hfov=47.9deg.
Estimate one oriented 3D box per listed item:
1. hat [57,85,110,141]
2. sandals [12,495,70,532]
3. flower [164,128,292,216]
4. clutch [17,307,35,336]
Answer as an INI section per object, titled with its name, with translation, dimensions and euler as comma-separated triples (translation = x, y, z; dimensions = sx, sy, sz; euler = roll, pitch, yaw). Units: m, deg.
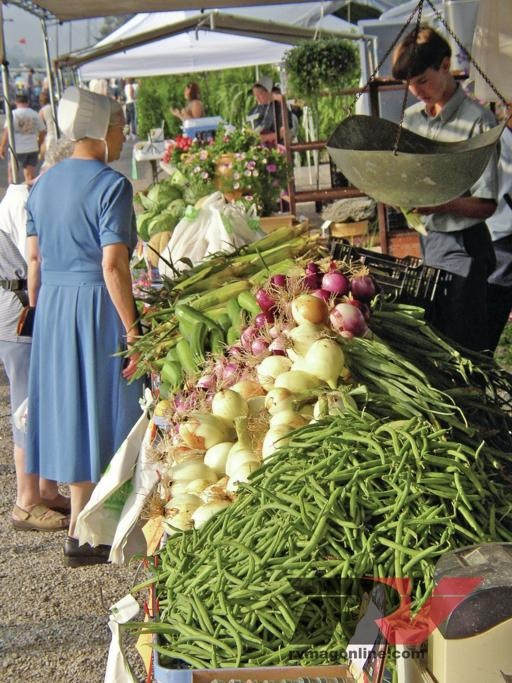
[hat]
translation = -0.734, -0.975, 2.475
dimensions = 0.241, 0.218, 0.189
euler = -7, 22, -13
[sandals]
translation = -1.177, 0.957, 3.214
dimensions = 0.332, 0.124, 0.158
euler = -2, 10, 1
[flower]
translation = -0.198, -1.170, 4.113
dimensions = 0.965, 0.642, 0.769
euler = -2, 13, 0
[clutch]
translation = -1.162, -0.103, 2.927
dimensions = 0.047, 0.132, 0.110
euler = 8, 8, 1
